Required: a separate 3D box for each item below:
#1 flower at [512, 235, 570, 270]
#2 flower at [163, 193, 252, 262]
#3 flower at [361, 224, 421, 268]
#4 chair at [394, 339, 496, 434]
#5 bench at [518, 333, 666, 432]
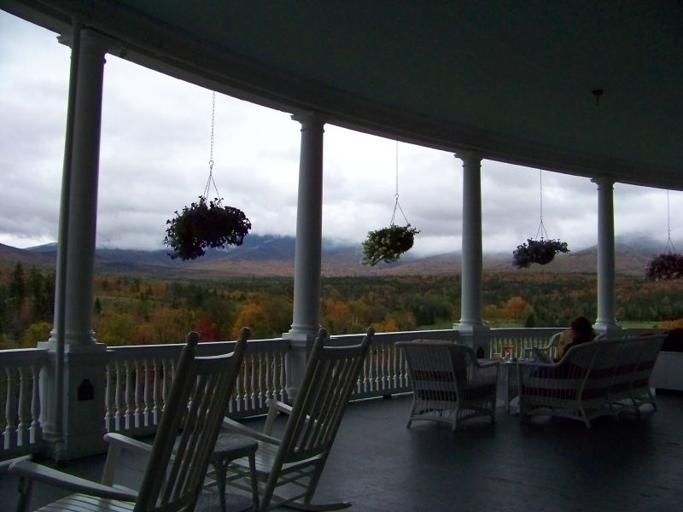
[{"bbox_3d":[3.236,-0.063,8.840,0.610,0.355,0.609,-11,-7,-41],"label":"flower"},{"bbox_3d":[-1.521,-0.372,6.050,0.727,0.610,0.781,-3,0,-5],"label":"flower"},{"bbox_3d":[0.632,-0.238,7.697,0.836,0.507,0.839,-10,-1,18],"label":"flower"},{"bbox_3d":[1.454,1.664,7.293,1.007,1.175,1.226,-4,-6,39],"label":"chair"},{"bbox_3d":[3.445,1.671,7.318,2.009,1.143,0.772,1,0,-24],"label":"bench"}]
